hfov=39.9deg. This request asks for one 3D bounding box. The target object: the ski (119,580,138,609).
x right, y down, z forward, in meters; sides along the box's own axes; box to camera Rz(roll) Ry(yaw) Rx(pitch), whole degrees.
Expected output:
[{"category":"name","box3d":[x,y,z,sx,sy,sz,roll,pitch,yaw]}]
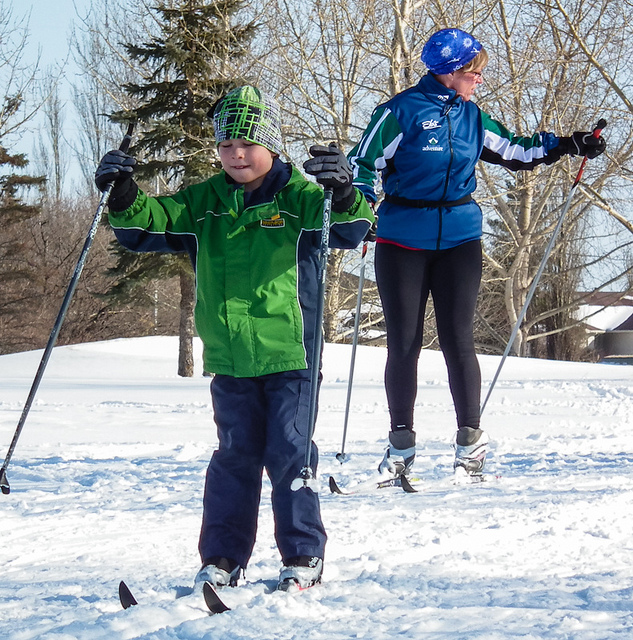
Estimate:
[{"category":"ski","box3d":[-0.563,0.830,2.642,0.033,0.104,0.012,-30,0,19]}]

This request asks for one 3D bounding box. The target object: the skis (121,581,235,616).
[{"category":"skis","box3d":[-0.406,0.840,2.606,0.319,0.056,0.033,9,17,32]}]

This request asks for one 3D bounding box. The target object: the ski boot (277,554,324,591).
[{"category":"ski boot","box3d":[-0.049,0.811,2.779,0.138,0.098,0.158,2,3,0]}]

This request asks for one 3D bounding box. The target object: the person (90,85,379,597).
[{"category":"person","box3d":[-0.317,0.007,3.001,0.836,1.696,0.577,4,3,16]}]

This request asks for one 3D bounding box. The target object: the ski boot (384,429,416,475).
[{"category":"ski boot","box3d":[0.405,0.629,4.127,0.135,0.235,0.094,1,3,-26]}]

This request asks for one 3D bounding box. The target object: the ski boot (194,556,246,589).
[{"category":"ski boot","box3d":[-0.314,0.810,2.824,0.087,0.063,0.144,4,2,19]}]

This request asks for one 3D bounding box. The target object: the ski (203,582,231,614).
[{"category":"ski","box3d":[-0.298,0.810,2.531,0.091,0.065,0.048,4,3,30]}]

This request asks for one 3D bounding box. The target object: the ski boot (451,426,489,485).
[{"category":"ski boot","box3d":[0.749,0.641,4.182,0.206,0.284,0.166,2,3,-8]}]

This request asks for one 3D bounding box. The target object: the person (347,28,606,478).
[{"category":"person","box3d":[0.594,-0.301,4.183,1.128,2.110,0.412,1,4,-27]}]
